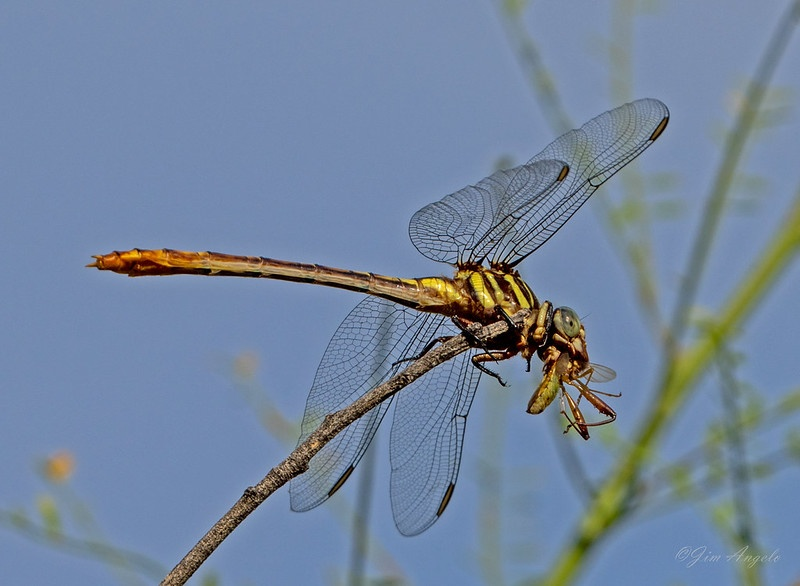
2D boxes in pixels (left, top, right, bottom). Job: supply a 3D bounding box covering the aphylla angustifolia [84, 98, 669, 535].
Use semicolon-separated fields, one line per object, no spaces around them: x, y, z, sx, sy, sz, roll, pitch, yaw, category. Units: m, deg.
-0.098;-0.212;5.740;2.782;2.994;1.146;22;-68;2;aphylla angustifolia
